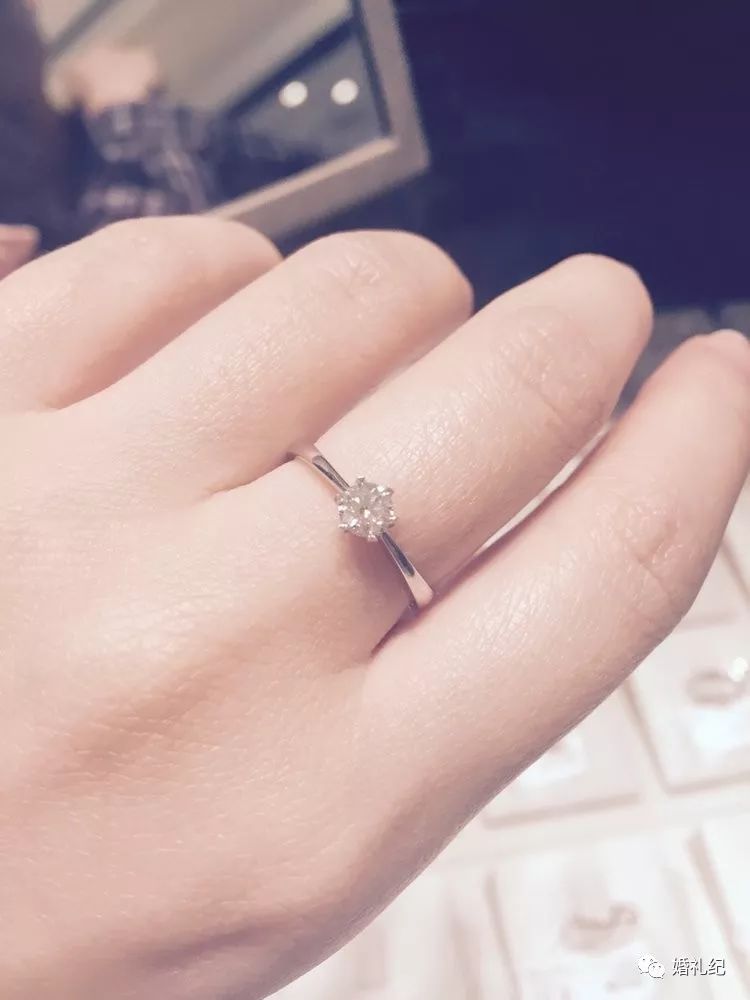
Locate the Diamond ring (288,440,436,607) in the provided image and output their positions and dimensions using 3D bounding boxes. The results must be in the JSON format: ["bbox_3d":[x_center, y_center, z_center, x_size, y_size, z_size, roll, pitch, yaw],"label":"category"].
[{"bbox_3d":[0.008,0.014,0.612,0.022,0.093,0.070,-47,24,-19],"label":"Diamond ring"}]
